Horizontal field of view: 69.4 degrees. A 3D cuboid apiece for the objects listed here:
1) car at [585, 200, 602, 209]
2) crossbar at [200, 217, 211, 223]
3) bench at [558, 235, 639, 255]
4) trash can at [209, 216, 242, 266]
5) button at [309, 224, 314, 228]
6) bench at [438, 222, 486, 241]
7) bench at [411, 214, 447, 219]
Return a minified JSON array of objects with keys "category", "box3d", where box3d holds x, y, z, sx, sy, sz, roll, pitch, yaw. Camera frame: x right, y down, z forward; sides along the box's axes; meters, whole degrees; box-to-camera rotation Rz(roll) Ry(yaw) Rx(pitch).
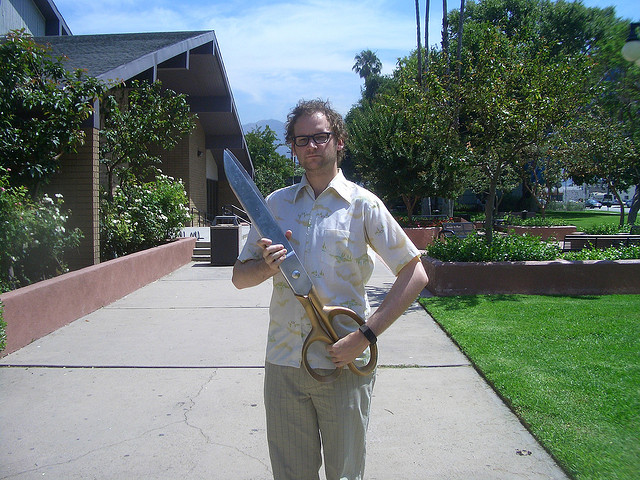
[{"category":"car","box3d":[43.464,-5.667,73.068,1.434,1.437,2.644,1,20,1]},{"category":"crossbar","box3d":[-5.489,-0.988,22.129,0.304,0.235,1.775,-2,4,-12]},{"category":"bench","box3d":[9.086,0.047,14.855,1.921,0.398,3.545,1,5,40]},{"category":"trash can","box3d":[-2.844,0.045,13.749,0.725,1.319,0.782,1,4,20]},{"category":"button","box3d":[-0.048,-0.087,2.746,0.007,0.015,0.024,11,-5,-44]},{"category":"bench","box3d":[5.161,-0.405,17.416,1.133,0.519,1.765,0,4,26]},{"category":"bench","box3d":[5.286,-1.120,21.956,1.358,0.167,2.525,-1,4,11]}]
